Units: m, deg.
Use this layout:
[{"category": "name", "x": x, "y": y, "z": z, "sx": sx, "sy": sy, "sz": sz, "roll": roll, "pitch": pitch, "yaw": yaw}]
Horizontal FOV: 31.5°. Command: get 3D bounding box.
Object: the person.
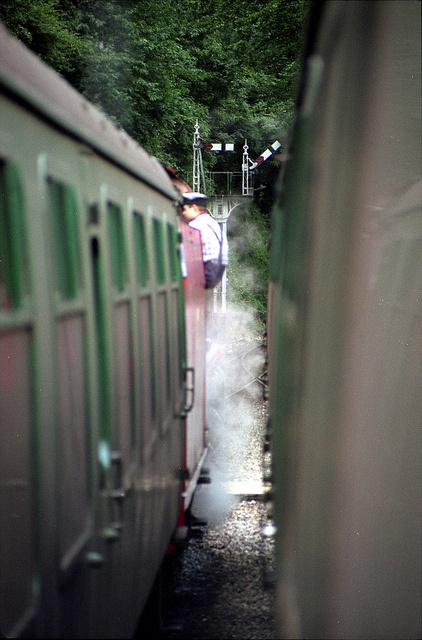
[{"category": "person", "x": -0.143, "y": -0.746, "z": 7.589, "sx": 0.405, "sy": 1.111, "sz": 0.572, "roll": 7, "pitch": -14, "yaw": -36}]
